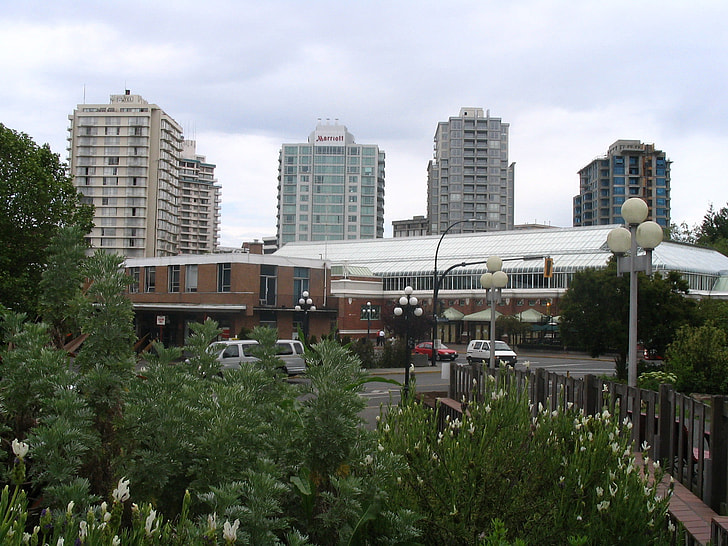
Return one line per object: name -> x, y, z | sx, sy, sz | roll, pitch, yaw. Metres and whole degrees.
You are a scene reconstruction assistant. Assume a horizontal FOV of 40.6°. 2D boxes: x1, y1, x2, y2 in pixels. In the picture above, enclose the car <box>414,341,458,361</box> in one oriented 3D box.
car -> 3.407, 3.854, 48.678 | 2.032, 1.000, 1.238 | -3, -3, 36
